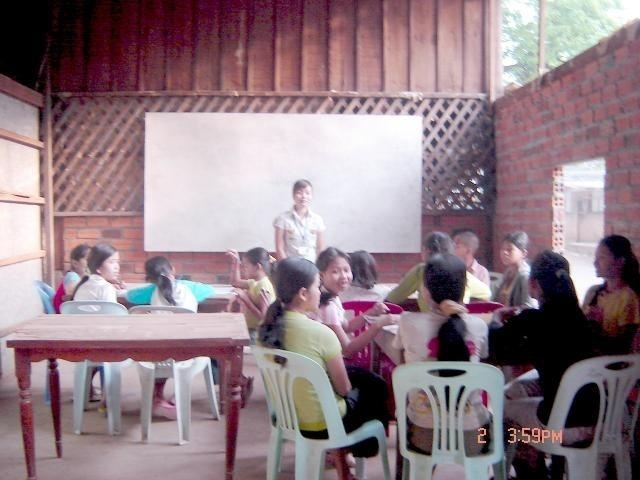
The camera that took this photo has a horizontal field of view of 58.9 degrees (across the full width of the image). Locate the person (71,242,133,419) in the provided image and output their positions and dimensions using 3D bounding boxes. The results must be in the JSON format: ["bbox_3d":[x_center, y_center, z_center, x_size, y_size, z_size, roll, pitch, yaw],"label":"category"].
[{"bbox_3d":[-1.488,0.855,3.775,0.258,0.259,0.824,14,-44,-15],"label":"person"}]

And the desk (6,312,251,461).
[{"bbox_3d":[-0.944,0.803,2.956,1.149,0.744,0.505,-1,8,-8],"label":"desk"}]

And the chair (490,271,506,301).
[{"bbox_3d":[1.460,0.377,4.720,0.188,0.210,0.243,-5,12,17],"label":"chair"}]

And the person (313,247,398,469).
[{"bbox_3d":[0.186,0.600,3.083,0.539,1.008,0.383,-3,5,4],"label":"person"}]

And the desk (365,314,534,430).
[{"bbox_3d":[0.596,0.485,2.601,0.501,0.618,0.663,1,43,6],"label":"desk"}]

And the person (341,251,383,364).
[{"bbox_3d":[0.212,0.488,3.498,0.297,0.794,0.254,2,-16,-14],"label":"person"}]
